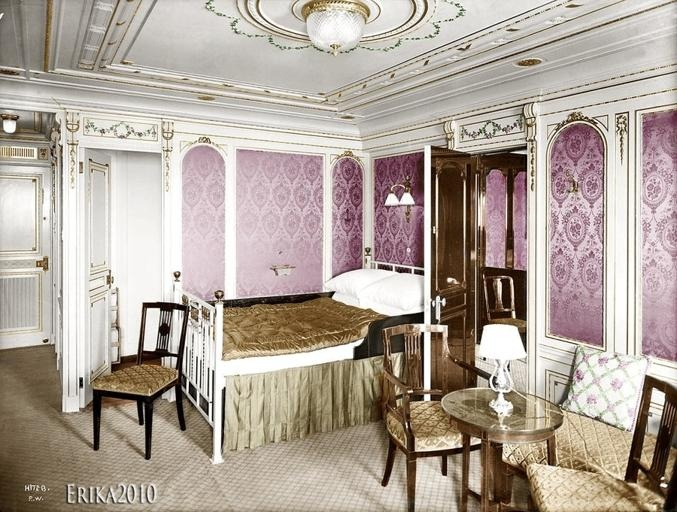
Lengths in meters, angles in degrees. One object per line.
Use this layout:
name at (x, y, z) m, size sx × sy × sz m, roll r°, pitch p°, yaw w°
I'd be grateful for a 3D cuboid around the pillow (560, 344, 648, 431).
pillow at (2.251, 1.082, 4.114) m, size 0.182 × 0.648 × 0.648 m, roll 32°, pitch -8°, yaw -29°

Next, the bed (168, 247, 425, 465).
bed at (-0.420, 0.909, 5.542) m, size 2.372 × 1.614 × 1.752 m, roll 2°, pitch -1°, yaw -28°
